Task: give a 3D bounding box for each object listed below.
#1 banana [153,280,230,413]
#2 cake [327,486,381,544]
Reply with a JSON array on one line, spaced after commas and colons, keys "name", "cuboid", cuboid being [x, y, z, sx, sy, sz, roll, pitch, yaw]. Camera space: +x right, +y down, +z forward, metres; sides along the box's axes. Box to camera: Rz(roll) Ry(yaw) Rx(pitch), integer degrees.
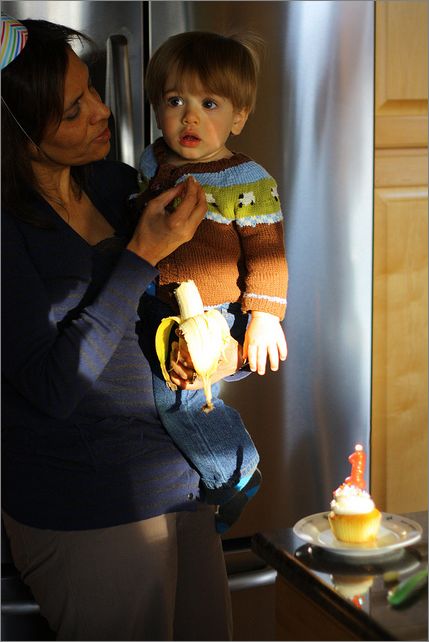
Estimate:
[{"name": "banana", "cuboid": [-0.043, 0.046, 0.919, 0.144, 0.090, 0.246, -16, -22, -8]}, {"name": "cake", "cuboid": [0.176, 0.261, 0.779, 0.048, 0.051, 0.053, 2, -5, -16]}]
